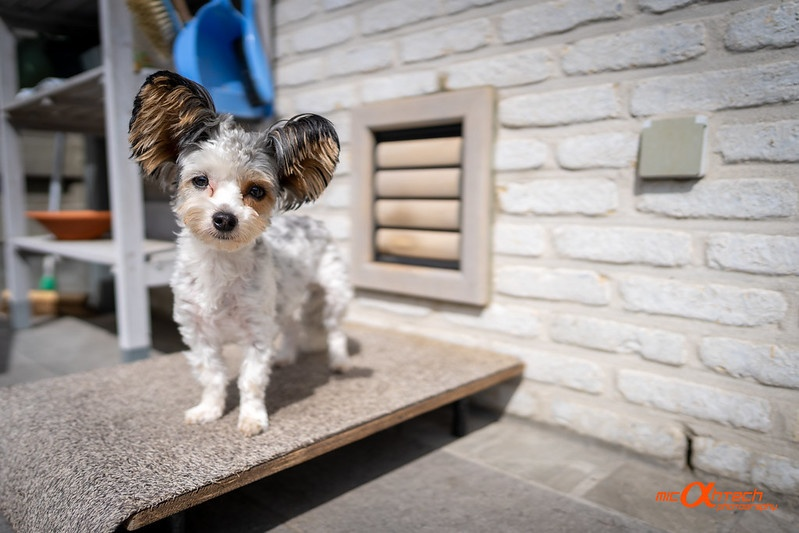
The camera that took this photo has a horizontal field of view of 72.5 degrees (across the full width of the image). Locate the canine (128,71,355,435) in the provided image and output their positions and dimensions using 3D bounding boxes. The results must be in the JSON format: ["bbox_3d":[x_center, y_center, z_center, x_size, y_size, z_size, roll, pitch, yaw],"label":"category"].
[{"bbox_3d":[-0.580,-0.087,2.424,0.727,1.406,0.810,5,13,25],"label":"canine"}]

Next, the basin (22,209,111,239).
[{"bbox_3d":[-1.340,-0.169,2.250,0.137,0.145,0.412,-2,10,-7],"label":"basin"}]
